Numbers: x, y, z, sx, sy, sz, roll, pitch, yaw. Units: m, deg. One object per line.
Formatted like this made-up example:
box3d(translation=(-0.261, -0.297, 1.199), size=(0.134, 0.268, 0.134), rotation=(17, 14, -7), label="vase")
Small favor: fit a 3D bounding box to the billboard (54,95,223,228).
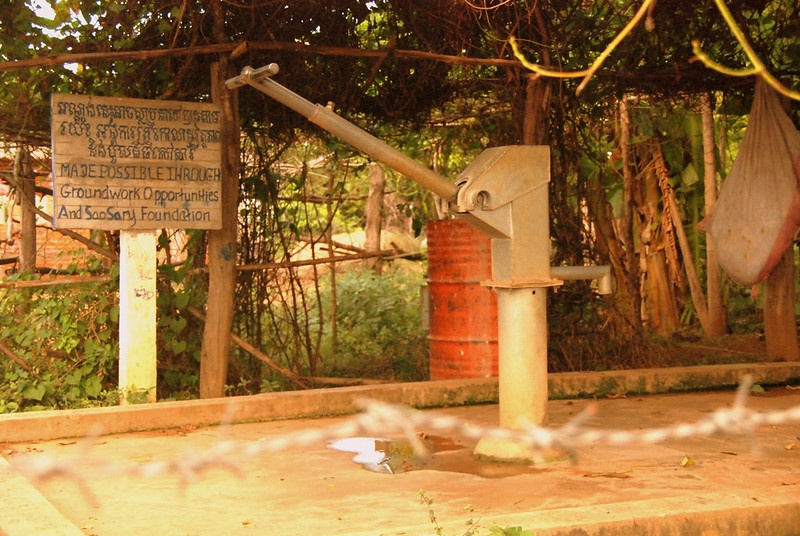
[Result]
box3d(translation=(-2.461, -0.964, 8.138), size=(1.288, 0.948, 0.172), rotation=(0, 0, -17), label="billboard")
